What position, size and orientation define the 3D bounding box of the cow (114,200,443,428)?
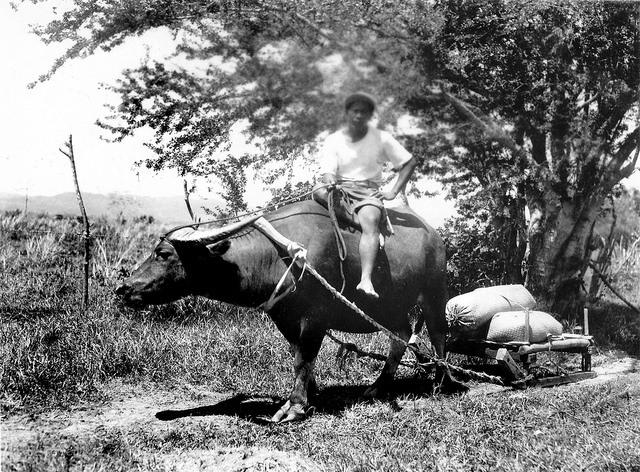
[{"bbox_3d":[-0.234,0.932,9.279,4.241,3.070,1.491,-5,12,-15],"label":"cow"}]
